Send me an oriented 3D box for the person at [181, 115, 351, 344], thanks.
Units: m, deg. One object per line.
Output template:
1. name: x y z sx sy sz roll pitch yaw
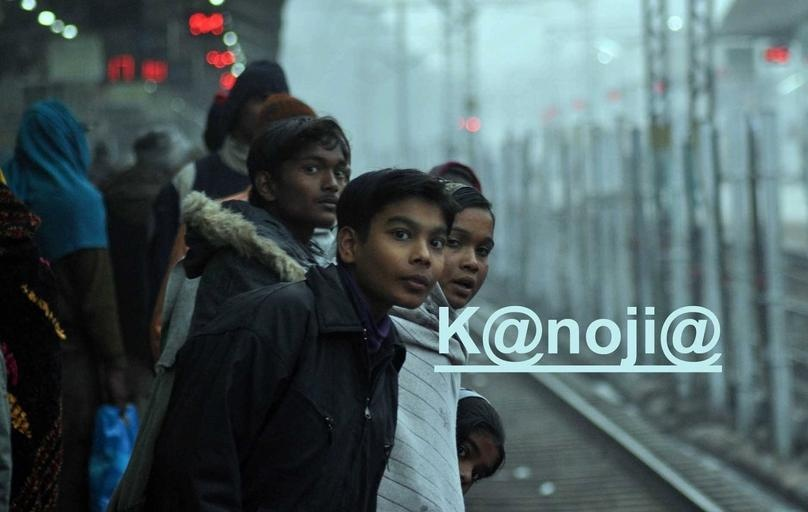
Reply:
1. person: -0.596 -0.097 4.606 0.607 1.088 0.875 -2 -16 16
